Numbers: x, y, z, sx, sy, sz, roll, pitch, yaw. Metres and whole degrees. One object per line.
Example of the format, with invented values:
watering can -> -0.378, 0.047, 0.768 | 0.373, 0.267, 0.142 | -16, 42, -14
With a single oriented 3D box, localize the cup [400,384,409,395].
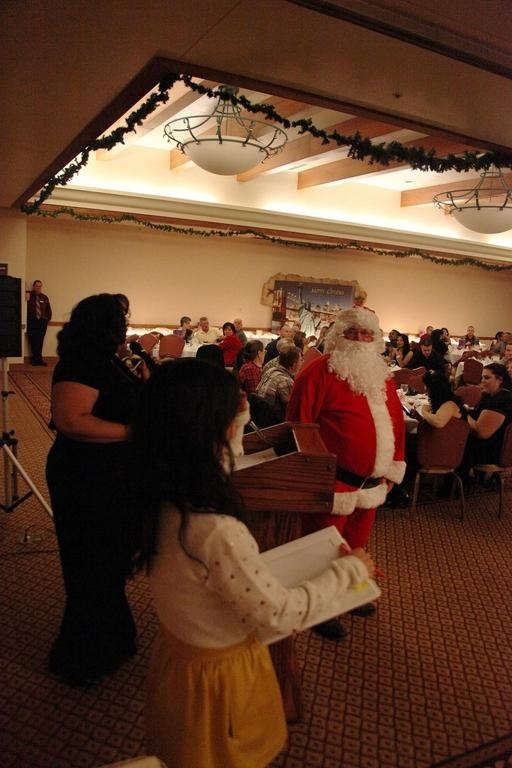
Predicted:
cup -> 1.633, 0.061, 5.758 | 0.063, 0.061, 0.102 | 11, 17, 10

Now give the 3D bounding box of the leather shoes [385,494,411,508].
leather shoes -> 1.114, 0.918, 4.090 | 0.082, 0.096, 0.260 | -11, -16, 38
